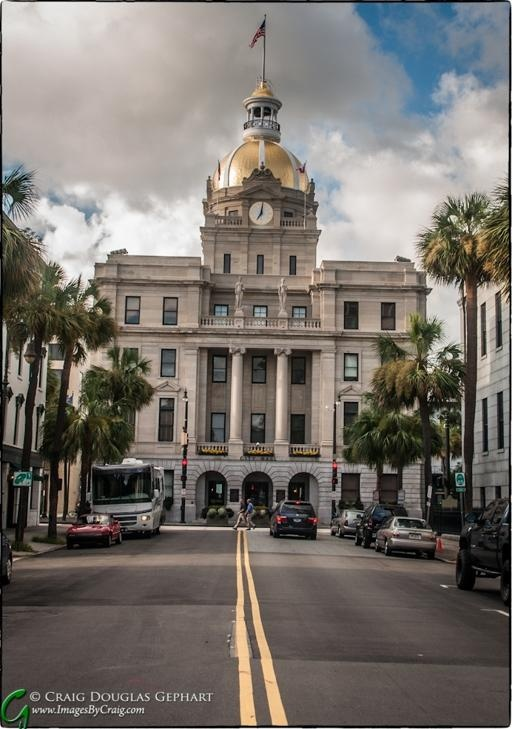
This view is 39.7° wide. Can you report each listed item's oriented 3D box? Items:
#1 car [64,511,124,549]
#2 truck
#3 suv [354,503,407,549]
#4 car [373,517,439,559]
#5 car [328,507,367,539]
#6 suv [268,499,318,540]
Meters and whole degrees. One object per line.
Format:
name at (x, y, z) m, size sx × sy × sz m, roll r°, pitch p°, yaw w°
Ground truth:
car at (-6.607, 6.684, 28.605) m, size 1.896 × 1.321 × 2.344 m, roll 4°, pitch -11°, yaw -11°
truck at (-6.253, 7.029, 36.610) m, size 1.807 × 2.815 × 5.175 m, roll -1°, pitch -15°, yaw 3°
suv at (5.529, 7.274, 32.361) m, size 1.203 × 1.594 × 2.890 m, roll 1°, pitch -6°, yaw 2°
car at (6.008, 6.822, 28.188) m, size 1.919 × 1.533 × 2.424 m, roll 0°, pitch -11°, yaw 7°
car at (5.246, 9.058, 40.667) m, size 1.065 × 1.275 × 2.956 m, roll 1°, pitch -7°, yaw -2°
suv at (1.816, 7.796, 35.889) m, size 1.287 × 1.525 × 2.733 m, roll 1°, pitch -8°, yaw -2°
